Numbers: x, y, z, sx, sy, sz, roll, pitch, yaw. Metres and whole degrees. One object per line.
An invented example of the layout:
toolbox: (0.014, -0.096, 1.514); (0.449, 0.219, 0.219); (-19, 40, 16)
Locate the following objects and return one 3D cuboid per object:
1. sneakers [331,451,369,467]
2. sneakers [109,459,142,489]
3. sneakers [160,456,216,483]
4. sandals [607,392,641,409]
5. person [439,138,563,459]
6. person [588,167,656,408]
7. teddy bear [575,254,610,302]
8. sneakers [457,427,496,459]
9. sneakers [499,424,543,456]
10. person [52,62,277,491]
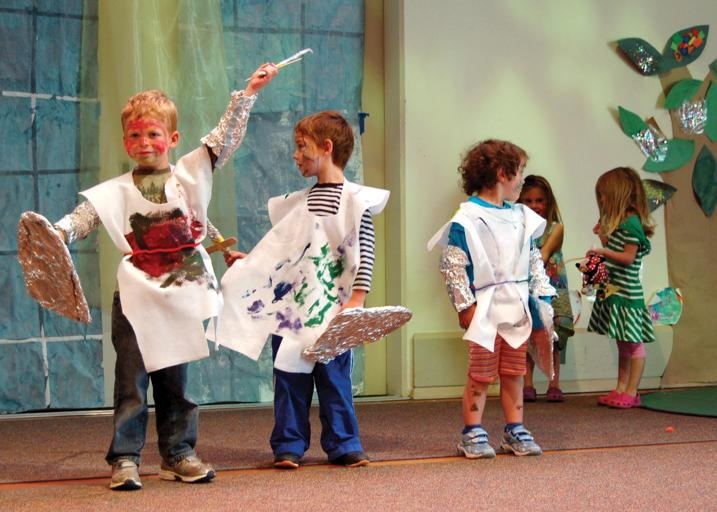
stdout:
sneakers: (-0.026, 0.853, 3.648); (0.168, 0.071, 0.061); (-5, -7, 21)
sneakers: (-0.912, 0.853, 3.386); (0.117, 0.114, 0.087); (-2, 8, -15)
sneakers: (-0.680, 0.857, 3.454); (0.205, 0.097, 0.093); (-2, -6, 22)
sandals: (1.449, 0.771, 4.660); (0.143, 0.059, 0.084); (1, -7, -26)
person: (0.601, 0.174, 3.867); (0.573, 1.382, 0.420); (1, 7, 5)
person: (1.449, 0.155, 4.743); (0.371, 1.274, 0.438); (3, 8, 19)
teddy bear: (1.299, 0.128, 4.795); (0.119, 0.240, 0.186); (14, 24, -1)
sneakers: (0.529, 0.829, 3.802); (0.088, 0.094, 0.186); (2, -6, -28)
sneakers: (0.721, 0.819, 3.872); (0.082, 0.110, 0.214); (1, -1, -33)
person: (-0.797, 0.088, 3.485); (0.793, 1.649, 0.414); (-2, 8, -20)
